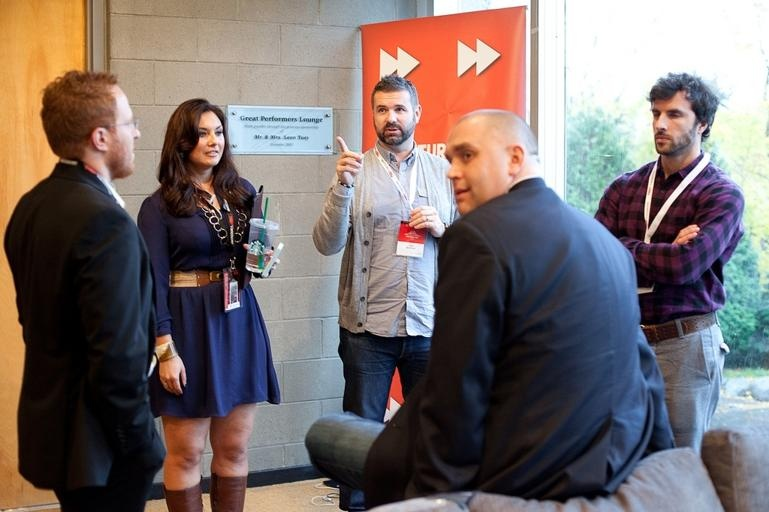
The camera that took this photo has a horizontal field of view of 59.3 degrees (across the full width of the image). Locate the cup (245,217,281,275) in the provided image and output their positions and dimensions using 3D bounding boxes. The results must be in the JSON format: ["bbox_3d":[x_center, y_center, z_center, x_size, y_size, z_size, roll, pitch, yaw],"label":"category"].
[{"bbox_3d":[-0.634,-0.035,3.477,0.153,0.322,0.160,1,9,0],"label":"cup"}]

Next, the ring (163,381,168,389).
[{"bbox_3d":[-1.073,0.641,3.316,0.020,0.022,0.022,-10,-11,41],"label":"ring"}]
